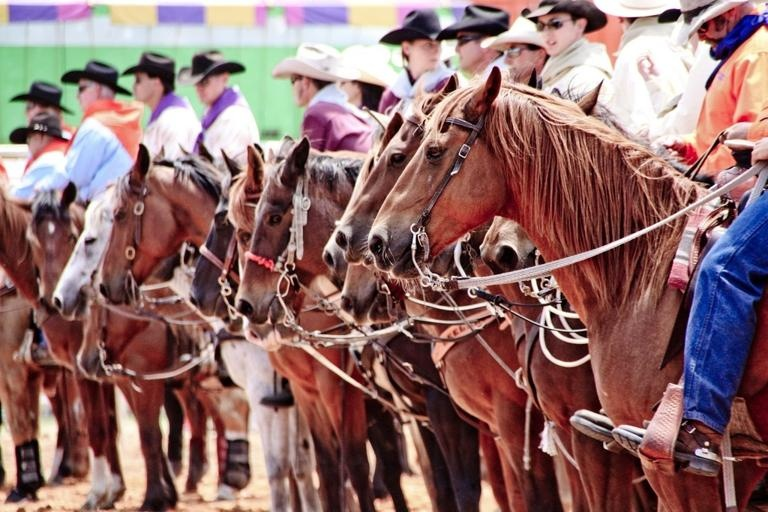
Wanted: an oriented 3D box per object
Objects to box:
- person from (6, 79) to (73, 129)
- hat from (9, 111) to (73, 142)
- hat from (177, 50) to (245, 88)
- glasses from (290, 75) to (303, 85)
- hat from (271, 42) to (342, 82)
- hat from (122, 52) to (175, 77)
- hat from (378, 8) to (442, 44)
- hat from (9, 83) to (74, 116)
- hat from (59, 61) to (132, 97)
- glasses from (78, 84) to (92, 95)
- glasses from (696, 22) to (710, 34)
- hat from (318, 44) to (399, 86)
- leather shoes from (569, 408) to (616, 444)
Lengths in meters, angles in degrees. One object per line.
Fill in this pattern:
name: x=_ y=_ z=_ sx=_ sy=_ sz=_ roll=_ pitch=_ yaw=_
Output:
person: x=-4.355 y=-1.986 z=16.835 sx=0.768 sy=0.268 sz=0.675 roll=14 pitch=0 yaw=40
hat: x=-4.174 y=-1.558 z=16.355 sx=0.532 sy=0.221 sz=0.609 roll=-15 pitch=-2 yaw=-23
hat: x=-1.846 y=-2.114 z=14.792 sx=0.675 sy=0.281 sz=0.732 roll=-20 pitch=-3 yaw=23
glasses: x=-0.854 y=-1.785 z=13.366 sx=0.112 sy=0.073 sz=0.132 roll=-14 pitch=23 yaw=21
hat: x=-0.728 y=-1.939 z=13.260 sx=0.547 sy=0.189 sz=0.448 roll=14 pitch=-23 yaw=-32
hat: x=-2.600 y=-2.269 z=15.384 sx=0.391 sy=0.167 sz=0.462 roll=-2 pitch=3 yaw=19
hat: x=0.345 y=-2.550 z=14.738 sx=0.628 sy=0.218 sz=0.511 roll=-7 pitch=1 yaw=-42
hat: x=-4.308 y=-2.037 z=16.765 sx=0.588 sy=0.207 sz=0.471 roll=14 pitch=2 yaw=-5
hat: x=-3.405 y=-2.156 z=15.884 sx=0.615 sy=0.210 sz=0.494 roll=18 pitch=-5 yaw=-7
glasses: x=-3.555 y=-1.997 z=15.884 sx=0.129 sy=0.118 sz=0.039 roll=3 pitch=-4 yaw=10
glasses: x=2.553 y=-1.848 z=10.698 sx=0.105 sy=0.082 sz=0.078 roll=17 pitch=2 yaw=19
hat: x=-0.209 y=-2.177 z=15.065 sx=0.996 sy=0.237 sz=0.992 roll=3 pitch=-10 yaw=40
leather shoes: x=1.518 y=1.269 z=9.776 sx=0.340 sy=0.172 sz=0.136 roll=26 pitch=-54 yaw=-28
